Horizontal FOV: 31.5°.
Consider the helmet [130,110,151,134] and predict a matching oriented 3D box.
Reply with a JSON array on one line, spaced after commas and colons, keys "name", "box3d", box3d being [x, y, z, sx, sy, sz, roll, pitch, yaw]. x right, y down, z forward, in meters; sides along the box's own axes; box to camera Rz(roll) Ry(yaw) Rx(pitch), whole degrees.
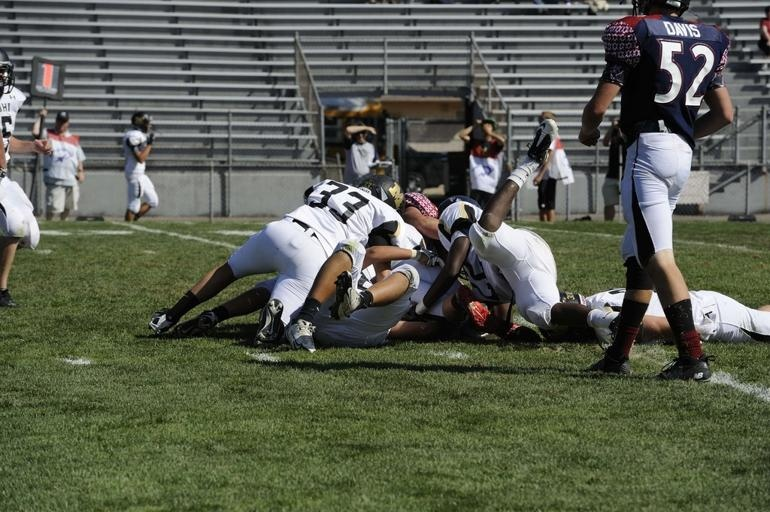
[{"name": "helmet", "box3d": [-3.711, -2.008, 20.589, 0.364, 0.331, 0.278, -6, 14, -25]}]

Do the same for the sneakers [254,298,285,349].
[{"name": "sneakers", "box3d": [-1.074, 0.650, 12.959, 0.221, 0.489, 0.229, 12, -4, -5]}]

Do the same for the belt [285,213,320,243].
[{"name": "belt", "box3d": [-0.790, -0.266, 13.026, 0.247, 0.075, 0.192, 35, -10, 0]}]

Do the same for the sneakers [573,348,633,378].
[{"name": "sneakers", "box3d": [1.984, 0.989, 12.386, 0.543, 0.232, 0.188, 3, -2, 13]}]

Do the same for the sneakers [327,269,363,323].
[{"name": "sneakers", "box3d": [-0.370, 0.378, 12.550, 0.202, 0.502, 0.243, 41, 25, 31]}]

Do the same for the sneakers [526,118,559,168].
[{"name": "sneakers", "box3d": [1.478, -1.046, 12.630, 0.272, 0.431, 0.161, 29, 8, 5]}]

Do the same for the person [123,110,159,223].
[{"name": "person", "box3d": [-3.895, -1.333, 21.698, 0.698, 0.859, 2.004, -2, -39, -13]}]

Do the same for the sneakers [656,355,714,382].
[{"name": "sneakers", "box3d": [2.727, 1.020, 12.333, 0.560, 0.249, 0.194, 1, -6, 9]}]

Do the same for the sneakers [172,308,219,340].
[{"name": "sneakers", "box3d": [-1.829, 0.658, 13.113, 0.401, 0.158, 0.235, -12, 4, -5]}]

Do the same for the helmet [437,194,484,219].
[{"name": "helmet", "box3d": [0.725, -0.463, 13.407, 0.322, 0.298, 0.230, -11, 11, -2]}]

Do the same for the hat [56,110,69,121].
[{"name": "hat", "box3d": [-4.952, -2.130, 20.886, 0.187, 0.150, 0.272, 5, -2, -20]}]

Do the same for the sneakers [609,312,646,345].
[{"name": "sneakers", "box3d": [2.197, 0.668, 12.514, 0.266, 0.333, 0.182, 2, -4, 11]}]

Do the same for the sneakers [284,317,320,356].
[{"name": "sneakers", "box3d": [-0.729, 0.742, 12.723, 0.164, 0.197, 0.424, 6, 31, -46]}]
